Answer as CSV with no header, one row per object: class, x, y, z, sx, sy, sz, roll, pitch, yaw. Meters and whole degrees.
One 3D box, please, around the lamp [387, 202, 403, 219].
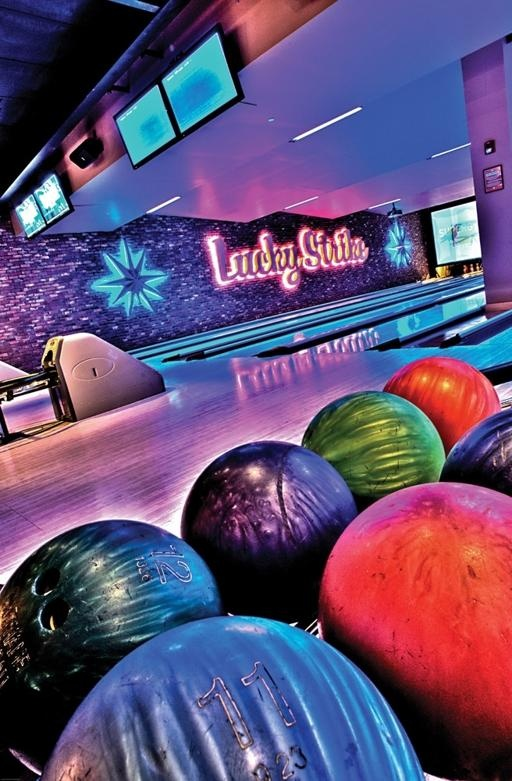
lamp,3.397,-4.567,11.964,0.297,0.297,0.313,13,13,43
